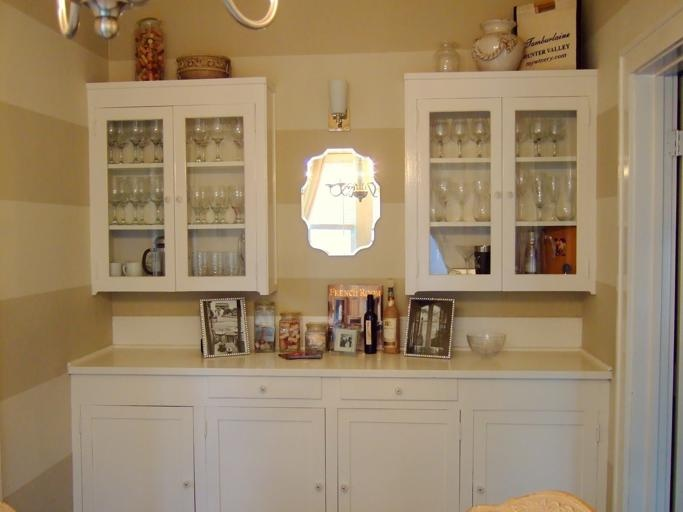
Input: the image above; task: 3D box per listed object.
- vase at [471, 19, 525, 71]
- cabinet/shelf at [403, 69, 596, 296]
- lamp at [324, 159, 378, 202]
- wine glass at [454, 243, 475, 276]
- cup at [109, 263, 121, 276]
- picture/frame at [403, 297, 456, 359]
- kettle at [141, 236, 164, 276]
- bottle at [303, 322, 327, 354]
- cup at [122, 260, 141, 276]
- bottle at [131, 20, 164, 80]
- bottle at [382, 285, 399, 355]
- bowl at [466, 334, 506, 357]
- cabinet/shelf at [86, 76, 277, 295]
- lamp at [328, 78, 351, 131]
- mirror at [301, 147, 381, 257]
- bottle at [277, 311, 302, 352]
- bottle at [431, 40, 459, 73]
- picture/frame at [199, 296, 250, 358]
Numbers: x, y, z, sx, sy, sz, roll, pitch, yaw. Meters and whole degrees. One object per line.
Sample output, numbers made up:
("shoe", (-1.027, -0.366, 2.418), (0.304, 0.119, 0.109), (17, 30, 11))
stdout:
("vase", (0.872, -1.172, 3.580), (0.254, 0.284, 0.286), (0, 3, 2))
("cabinet/shelf", (0.921, -0.332, 3.729), (1.049, 1.310, 0.319), (0, -20, 12))
("lamp", (0.080, -0.423, 3.866), (0.237, 0.177, 0.238), (4, -6, -41))
("wine glass", (0.715, 0.011, 3.728), (0.126, 0.193, 0.132), (0, -3, -5))
("cup", (-1.336, 0.073, 3.762), (0.066, 0.056, 0.053), (1, -4, -12))
("picture/frame", (0.515, 0.420, 3.734), (0.286, 0.417, 0.029), (2, -9, 12))
("kettle", (-1.101, 0.006, 3.745), (0.204, 0.241, 0.130), (0, -1, -16))
("bottle", (-0.155, 0.485, 3.827), (0.147, 0.195, 0.138), (1, -2, 0))
("cup", (-1.229, 0.069, 3.726), (0.090, 0.077, 0.072), (0, 0, -9))
("bottle", (-1.155, -1.228, 3.806), (0.157, 0.378, 0.111), (1, 1, -28))
("bottle", (0.294, 0.373, 3.787), (0.096, 0.394, 0.069), (1, 1, 4))
("bowl", (0.824, 0.481, 3.640), (0.139, 0.085, 0.142), (1, -2, 0))
("cabinet/shelf", (-0.945, -0.425, 3.712), (1.100, 1.471, 0.395), (0, 0, 1))
("lamp", (-0.016, -0.898, 3.819), (0.122, 0.275, 0.132), (1, 1, -1))
("mirror", (-0.002, -0.358, 3.881), (0.536, 0.769, 0.048), (2, 2, 0))
("bottle", (-0.309, 0.471, 4.014), (0.176, 0.349, 0.204), (1, -2, 3))
("bottle", (0.628, -1.136, 3.703), (0.156, 0.187, 0.156), (-4, 7, -43))
("picture/frame", (-0.704, 0.427, 3.802), (0.291, 0.419, 0.033), (1, -9, -13))
